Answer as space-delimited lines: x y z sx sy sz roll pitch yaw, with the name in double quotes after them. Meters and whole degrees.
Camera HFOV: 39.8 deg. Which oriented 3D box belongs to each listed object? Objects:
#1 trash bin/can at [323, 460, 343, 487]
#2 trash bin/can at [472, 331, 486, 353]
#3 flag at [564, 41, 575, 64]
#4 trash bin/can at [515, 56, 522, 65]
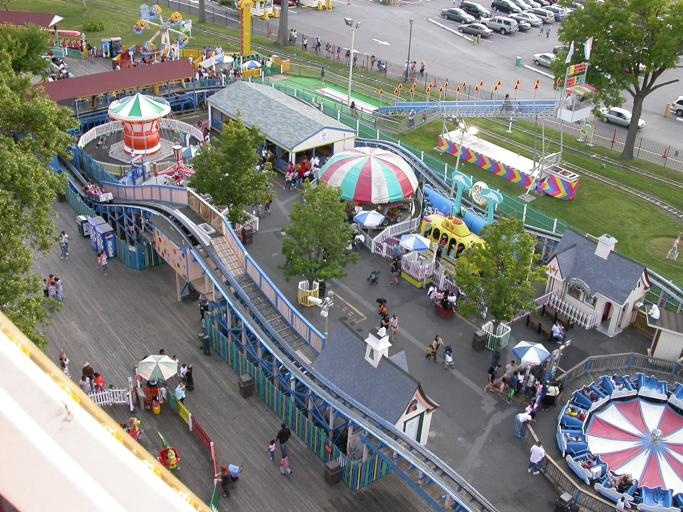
-0.465 13.153 56.528 0.635 1.039 0.870 -17 40 -31 "trash bin/can"
9.596 6.024 65.610 0.671 1.166 0.698 -20 35 -34 "trash bin/can"
20.753 -18.629 85.834 0.674 0.671 3.817 42 34 3 "flag"
21.025 -23.391 112.150 0.605 1.242 1.201 -2 75 3 "trash bin/can"
